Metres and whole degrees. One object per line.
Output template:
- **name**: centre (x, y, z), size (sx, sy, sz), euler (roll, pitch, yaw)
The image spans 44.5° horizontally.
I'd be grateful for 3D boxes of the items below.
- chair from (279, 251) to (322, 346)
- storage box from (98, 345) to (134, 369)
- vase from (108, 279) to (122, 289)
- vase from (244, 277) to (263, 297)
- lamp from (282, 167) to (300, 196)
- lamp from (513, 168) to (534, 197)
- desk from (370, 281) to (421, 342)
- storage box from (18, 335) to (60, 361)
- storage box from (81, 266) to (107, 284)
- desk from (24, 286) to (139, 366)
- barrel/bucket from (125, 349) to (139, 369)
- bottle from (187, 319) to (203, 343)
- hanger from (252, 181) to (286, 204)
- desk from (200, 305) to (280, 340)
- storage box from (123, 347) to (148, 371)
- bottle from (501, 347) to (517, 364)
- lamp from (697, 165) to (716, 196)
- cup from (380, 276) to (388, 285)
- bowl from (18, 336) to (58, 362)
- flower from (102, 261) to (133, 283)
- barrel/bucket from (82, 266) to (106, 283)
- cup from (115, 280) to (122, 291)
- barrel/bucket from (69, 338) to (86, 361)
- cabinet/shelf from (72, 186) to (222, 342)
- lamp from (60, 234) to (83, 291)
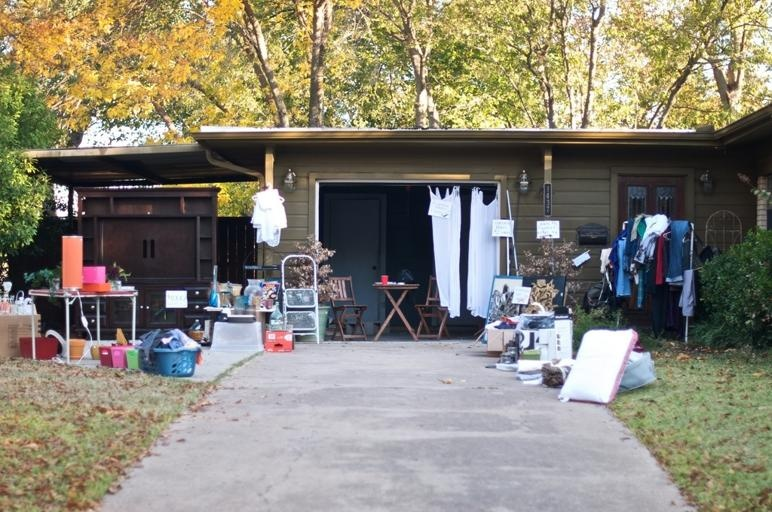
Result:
- **chair**: centre (-1.481, 0.728, 16.605), size (0.725, 1.565, 0.913), euler (1, -2, -7)
- **storage box**: centre (-3.981, 1.476, 13.848), size (0.388, 0.252, 0.303), euler (1, -1, -17)
- **vase**: centre (-4.148, 0.423, 14.466), size (0.143, 0.112, 0.151), euler (-1, 1, -3)
- **vase**: centre (-2.293, 0.545, 16.152), size (0.307, 0.315, 0.239), euler (-1, -3, 7)
- **lamp**: centre (-1.733, -1.408, 17.222), size (0.275, 0.449, 0.171), euler (1, -2, -6)
- **lamp**: centre (2.532, -1.374, 17.290), size (0.305, 0.477, 0.199), euler (0, -2, 5)
- **desk**: centre (0.200, 0.985, 17.603), size (0.971, 1.044, 0.994), euler (0, -6, -4)
- **storage box**: centre (-5.298, 1.405, 14.384), size (0.422, 0.317, 0.385), euler (4, -10, -11)
- **storage box**: centre (-4.401, 0.223, 14.237), size (0.410, 0.286, 0.224), euler (2, 3, 13)
- **desk**: centre (-4.638, 1.009, 14.332), size (1.385, 1.057, 1.200), euler (-3, -5, 15)
- **barrel/bucket**: centre (-3.711, 1.499, 13.772), size (0.281, 0.334, 0.283), euler (0, -6, 0)
- **bottle**: centre (-3.215, 1.264, 16.147), size (0.321, 0.561, 0.336), euler (1, -7, 0)
- **hanger**: centre (-2.093, -1.078, 17.076), size (0.429, 0.441, 0.179), euler (10, 34, 0)
- **desk**: centre (-2.528, 1.172, 15.813), size (0.971, 0.636, 0.853), euler (1, -2, -11)
- **storage box**: centre (-3.614, 1.473, 13.646), size (0.378, 0.283, 0.296), euler (1, -1, -41)
- **bottle**: centre (1.913, 1.518, 14.480), size (0.294, 0.292, 0.212), euler (0, -16, 11)
- **lamp**: centre (5.867, -1.395, 17.271), size (0.290, 0.477, 0.102), euler (0, -2, 4)
- **cup**: centre (-0.015, 0.424, 17.269), size (0.131, 0.106, 0.137), euler (0, -7, 0)
- **bowl**: centre (-5.283, 1.421, 14.384), size (0.422, 0.316, 0.385), euler (2, -9, 0)
- **flower**: centre (-4.437, 0.259, 15.578), size (0.525, 0.396, 0.462), euler (2, -4, -11)
- **barrel/bucket**: centre (-4.383, 0.279, 14.236), size (0.368, 0.254, 0.281), euler (2, -2, -30)
- **cup**: centre (-4.131, 0.445, 14.550), size (0.137, 0.138, 0.076), euler (1, -10, -11)
- **barrel/bucket**: centre (-4.760, 1.426, 14.527), size (0.262, 0.268, 0.271), euler (-1, -6, 0)
- **cabinet/shelf**: centre (-4.188, 0.183, 16.360), size (2.577, 2.874, 0.912), euler (0, -3, -3)
- **lamp**: centre (-4.665, 0.069, 14.158), size (0.347, 0.792, 0.281), euler (0, -1, -7)
